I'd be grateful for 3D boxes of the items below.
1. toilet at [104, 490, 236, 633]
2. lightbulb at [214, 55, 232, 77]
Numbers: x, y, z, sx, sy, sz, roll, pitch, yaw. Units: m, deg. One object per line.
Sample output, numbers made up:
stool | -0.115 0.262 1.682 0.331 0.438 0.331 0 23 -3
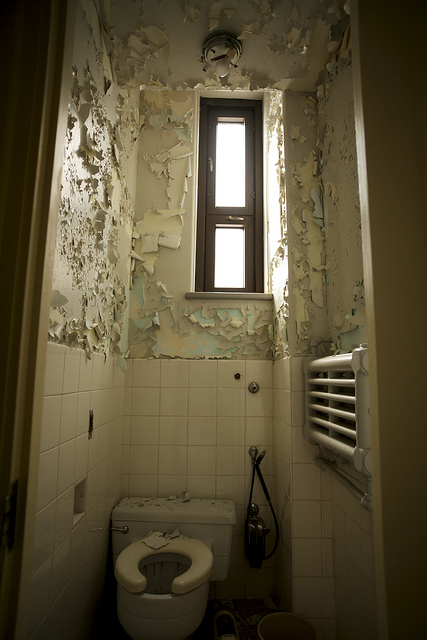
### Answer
toilet | -0.184 1.009 1.765 0.559 0.411 0.709 1 -3 1
lightbulb | 0.034 -0.974 1.673 0.059 0.036 0.154 2 -3 -4
